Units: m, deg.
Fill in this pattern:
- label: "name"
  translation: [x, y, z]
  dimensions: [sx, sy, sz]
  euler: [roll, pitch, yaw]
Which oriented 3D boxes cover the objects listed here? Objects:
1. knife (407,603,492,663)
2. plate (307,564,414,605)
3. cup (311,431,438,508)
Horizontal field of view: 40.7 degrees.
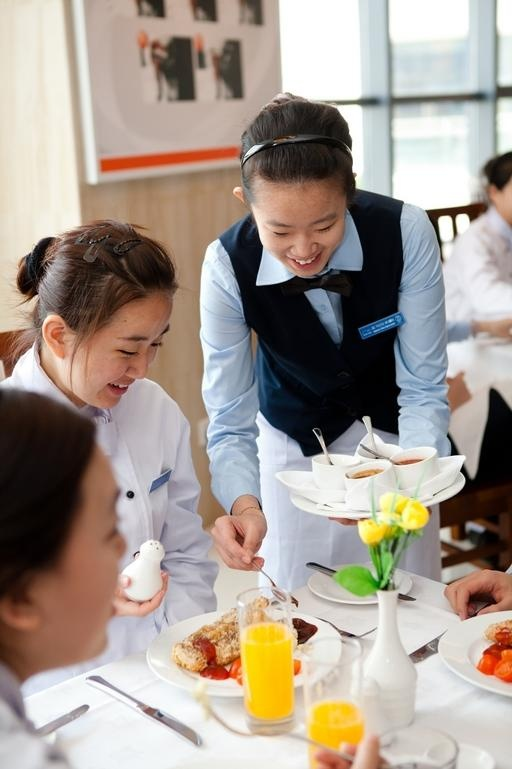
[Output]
- label: "knife"
  translation: [0.284, 0.388, 1.067]
  dimensions: [0.152, 0.046, 0.016]
  euler: [-35, 26, -22]
- label: "plate"
  translation: [0.167, 0.374, 1.233]
  dimensions: [0.180, 0.019, 0.134]
  euler: [3, 6, 44]
- label: "cup"
  translation: [0.210, 0.136, 1.235]
  dimensions: [0.133, 0.078, 0.166]
  euler: [-12, 4, -1]
